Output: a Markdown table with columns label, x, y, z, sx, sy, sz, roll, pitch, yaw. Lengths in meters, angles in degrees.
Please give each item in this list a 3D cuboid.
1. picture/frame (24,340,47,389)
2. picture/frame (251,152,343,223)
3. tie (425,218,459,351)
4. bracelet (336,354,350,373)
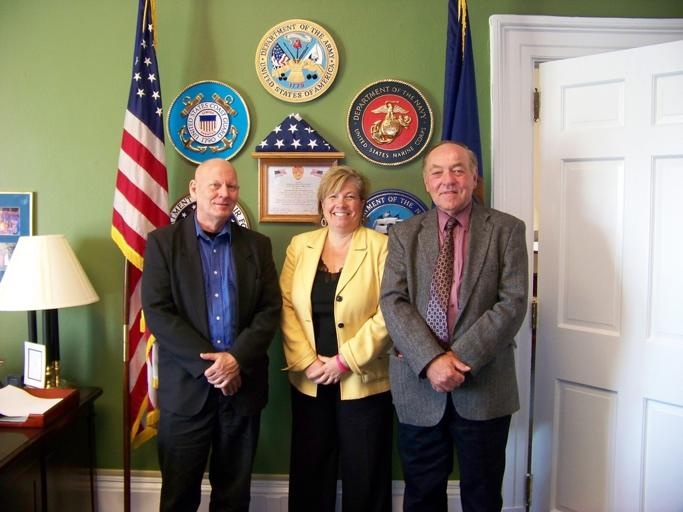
| label | x | y | z | sx | sy | sz | roll | pitch | yaw |
| --- | --- | --- | --- | --- | --- | --- | --- | --- | --- |
| picture/frame | -1.648 | 0.604 | 3.109 | 0.208 | 0.349 | 0.024 | 0 | 0 | 28 |
| picture/frame | -0.241 | -0.411 | 3.322 | 0.344 | 0.364 | 0.041 | 0 | 1 | -1 |
| tie | 0.485 | 0.117 | 2.831 | 0.119 | 0.620 | 0.155 | 2 | 4 | 22 |
| bracelet | 0.002 | 0.567 | 2.969 | 0.067 | 0.101 | 0.062 | 1 | 4 | 12 |
